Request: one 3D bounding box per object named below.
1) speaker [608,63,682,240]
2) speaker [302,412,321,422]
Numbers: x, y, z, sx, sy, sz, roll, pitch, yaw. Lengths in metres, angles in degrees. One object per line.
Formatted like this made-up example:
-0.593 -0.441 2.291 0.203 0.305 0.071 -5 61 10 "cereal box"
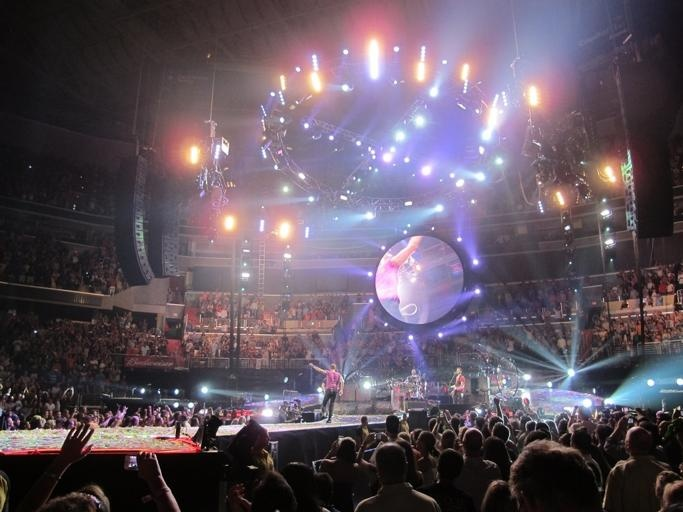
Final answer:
5.486 -2.004 10.202 0.755 3.254 0.770 -5 -16 18 "speaker"
-0.982 5.202 18.299 0.653 0.435 0.683 0 -11 -3 "speaker"
